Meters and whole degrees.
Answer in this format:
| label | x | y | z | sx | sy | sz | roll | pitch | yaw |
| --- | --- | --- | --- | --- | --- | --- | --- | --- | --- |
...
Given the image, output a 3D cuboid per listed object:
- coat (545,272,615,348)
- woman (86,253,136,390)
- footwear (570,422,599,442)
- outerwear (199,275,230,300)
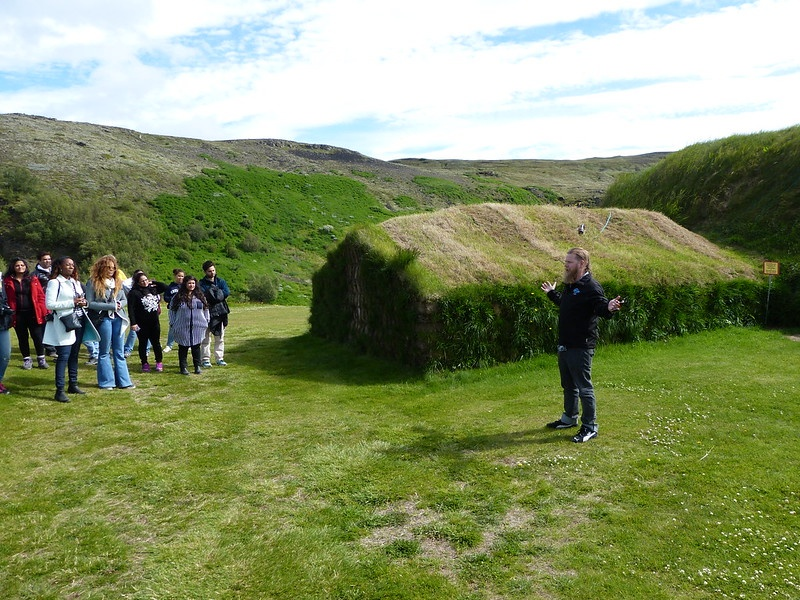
| label | x | y | z | sx | sy | sz | roll | pitch | yaw |
| --- | --- | --- | --- | --- | --- | --- | --- | --- | --- |
| coat | 3.387 | 0.273 | 12.008 | 0.552 | 1.203 | 1.934 | 4 | 0 | -26 |
| woman | -5.934 | 0.470 | 12.973 | 0.978 | 2.734 | 0.886 | 0 | -7 | -38 |
| footwear | 3.042 | 2.220 | 10.446 | 0.510 | 0.214 | 0.187 | 0 | -6 | -31 |
| outerwear | -4.639 | -0.333 | 15.485 | 0.647 | 0.605 | 0.260 | -2 | 12 | -40 |
